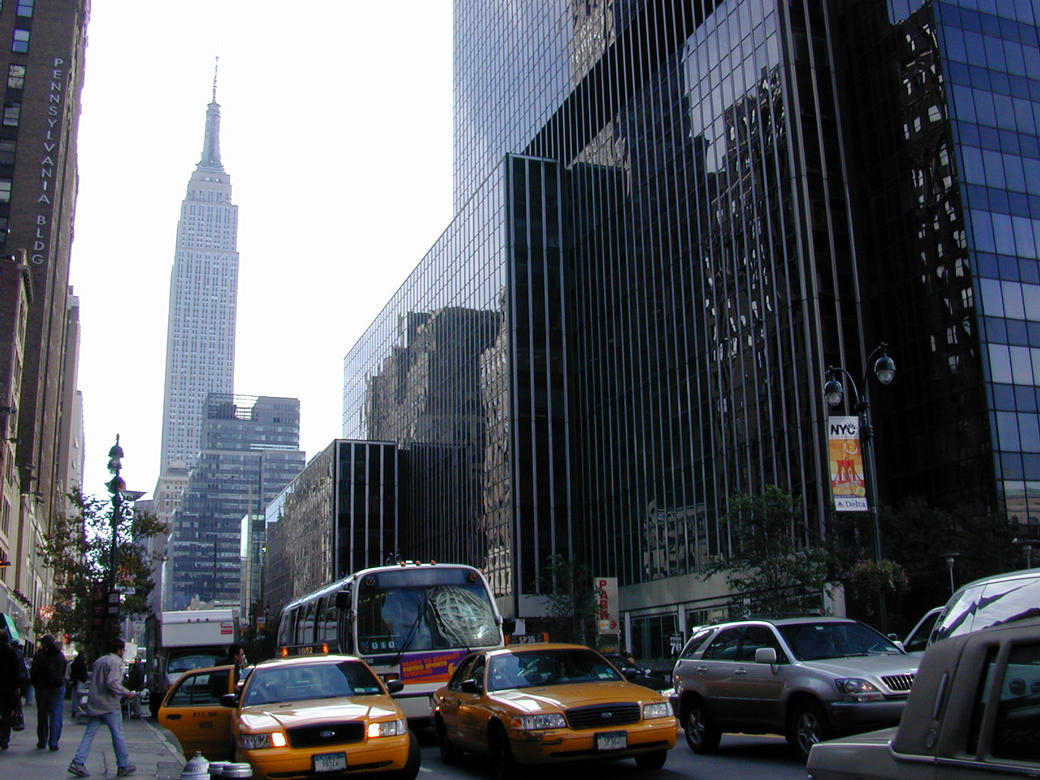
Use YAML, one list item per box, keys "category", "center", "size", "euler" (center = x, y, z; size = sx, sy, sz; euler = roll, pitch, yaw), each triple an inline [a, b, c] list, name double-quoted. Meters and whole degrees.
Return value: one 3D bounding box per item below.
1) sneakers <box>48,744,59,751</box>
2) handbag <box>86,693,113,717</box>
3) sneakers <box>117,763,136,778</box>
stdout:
- category: "sneakers"
  center: [-8.995, 6.847, 19.749]
  size: [0.175, 0.201, 0.117]
  euler: [-1, -7, 6]
- category: "handbag"
  center: [-6.687, 4.967, 16.313]
  size: [0.299, 0.352, 0.184]
  euler: [0, -16, 13]
- category: "sneakers"
  center: [-6.144, 5.916, 16.045]
  size: [0.334, 0.168, 0.120]
  euler: [-3, 5, -28]
